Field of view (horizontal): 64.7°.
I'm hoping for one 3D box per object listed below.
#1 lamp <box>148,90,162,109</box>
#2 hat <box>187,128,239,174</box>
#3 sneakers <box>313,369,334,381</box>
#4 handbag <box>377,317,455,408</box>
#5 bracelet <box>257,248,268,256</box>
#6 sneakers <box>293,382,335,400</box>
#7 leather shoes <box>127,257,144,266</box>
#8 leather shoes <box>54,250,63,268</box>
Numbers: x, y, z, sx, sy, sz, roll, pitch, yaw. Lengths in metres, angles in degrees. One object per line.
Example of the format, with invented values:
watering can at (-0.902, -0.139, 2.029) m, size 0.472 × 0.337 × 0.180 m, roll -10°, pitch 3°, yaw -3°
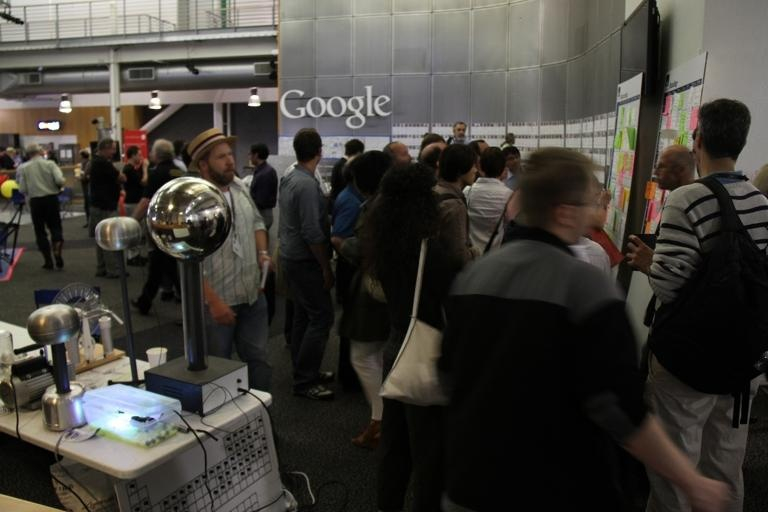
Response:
lamp at (-6.126, -4.194, 16.167) m, size 0.228 × 0.448 × 1.293 m, roll -6°, pitch 15°, yaw -21°
hat at (-0.989, -0.602, 3.436) m, size 0.256 × 0.231 × 0.284 m, roll -3°, pitch 14°, yaw -6°
sneakers at (-0.455, 0.908, 4.610) m, size 0.059 × 0.078 × 0.176 m, roll 8°, pitch 12°, yaw 37°
handbag at (0.183, 0.461, 2.608) m, size 0.313 × 0.374 × 0.186 m, roll 8°, pitch 22°, yaw 3°
bracelet at (-0.718, -0.024, 3.594) m, size 0.041 × 0.033 × 0.043 m, roll 4°, pitch 6°, yaw 43°
sneakers at (-0.502, 0.972, 4.397) m, size 0.294 × 0.136 × 0.113 m, roll 1°, pitch 1°, yaw 1°
leather shoes at (-3.188, 0.070, 7.763) m, size 0.198 × 0.082 × 0.147 m, roll 3°, pitch 5°, yaw 36°
leather shoes at (-4.427, 0.060, 8.255) m, size 0.094 × 0.284 × 0.109 m, roll -3°, pitch 16°, yaw -20°
